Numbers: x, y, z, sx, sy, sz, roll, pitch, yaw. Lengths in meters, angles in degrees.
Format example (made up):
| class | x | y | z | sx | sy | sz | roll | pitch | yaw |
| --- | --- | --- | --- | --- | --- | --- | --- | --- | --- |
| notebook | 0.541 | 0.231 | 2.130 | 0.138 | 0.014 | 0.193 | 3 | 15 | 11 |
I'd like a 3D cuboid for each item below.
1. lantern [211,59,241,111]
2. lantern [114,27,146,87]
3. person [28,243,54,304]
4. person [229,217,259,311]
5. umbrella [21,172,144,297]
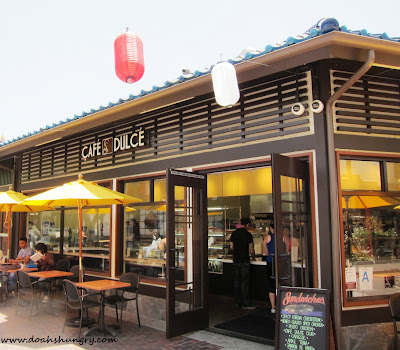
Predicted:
| class | x | y | z | sx | sy | sz | roll | pitch | yaw |
| --- | --- | --- | --- | --- | --- | --- | --- | --- | --- |
| lantern | 0.303 | -1.091 | 4.380 | 0.310 | 0.522 | 0.227 | -2 | -3 | 4 |
| lantern | -1.071 | -1.808 | 5.595 | 0.455 | 0.877 | 0.300 | -1 | -3 | -11 |
| person | -3.821 | 2.271 | 8.978 | 0.585 | 1.201 | 0.692 | 0 | 1 | 35 |
| person | 0.944 | 2.048 | 8.154 | 0.485 | 1.625 | 0.569 | -2 | -3 | 4 |
| umbrella | -2.257 | 1.106 | 7.061 | 2.325 | 2.121 | 2.305 | -1 | -2 | -8 |
